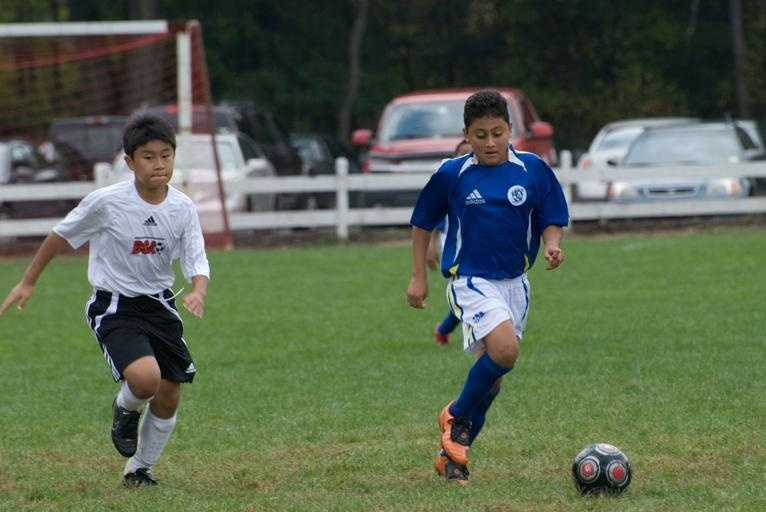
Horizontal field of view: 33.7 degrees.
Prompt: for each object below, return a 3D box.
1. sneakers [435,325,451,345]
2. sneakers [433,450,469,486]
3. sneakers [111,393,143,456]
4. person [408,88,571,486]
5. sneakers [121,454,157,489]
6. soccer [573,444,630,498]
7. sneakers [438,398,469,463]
[{"bbox_3d":[0.550,0.749,11.868,0.130,0.151,0.158,0,3,2],"label":"sneakers"},{"bbox_3d":[0.497,1.556,9.408,0.339,0.144,0.135,22,10,41],"label":"sneakers"},{"bbox_3d":[-1.942,1.249,9.456,0.167,0.473,0.210,0,-16,-42],"label":"sneakers"},{"bbox_3d":[0.755,0.210,9.370,1.173,2.821,0.601,0,8,7],"label":"person"},{"bbox_3d":[-1.841,1.615,9.469,0.302,0.273,0.157,2,-2,-3],"label":"sneakers"},{"bbox_3d":[1.592,1.580,9.311,0.455,0.432,0.447,7,-10,15],"label":"soccer"},{"bbox_3d":[0.503,1.283,9.378,0.177,0.470,0.201,15,-49,-42],"label":"sneakers"}]
